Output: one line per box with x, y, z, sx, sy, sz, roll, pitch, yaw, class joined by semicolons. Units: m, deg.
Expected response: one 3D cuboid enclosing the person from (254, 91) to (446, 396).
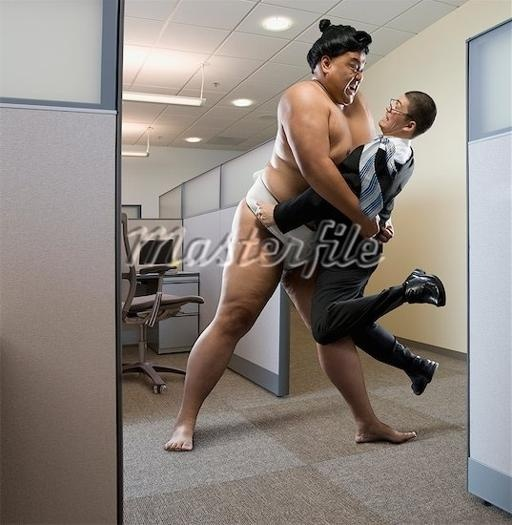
0.362;-0.078;1.656;0.718;1.216;0.365;0;-1;1;person

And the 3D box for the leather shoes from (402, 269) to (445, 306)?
0.572;0.090;1.577;0.163;0.093;0.106;14;23;32;leather shoes

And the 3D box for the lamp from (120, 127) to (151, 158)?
-1.991;-1.858;7.342;0.455;0.430;1.291;0;-1;-14;lamp

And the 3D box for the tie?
0.405;-0.286;1.518;0.162;0.241;0.086;-10;13;-34;tie

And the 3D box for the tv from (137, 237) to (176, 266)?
-0.882;-0.091;3.834;0.273;0.218;0.026;2;-22;-16;tv

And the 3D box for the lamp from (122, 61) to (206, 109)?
-1.025;-1.839;4.624;0.993;0.464;0.320;2;10;-3;lamp
